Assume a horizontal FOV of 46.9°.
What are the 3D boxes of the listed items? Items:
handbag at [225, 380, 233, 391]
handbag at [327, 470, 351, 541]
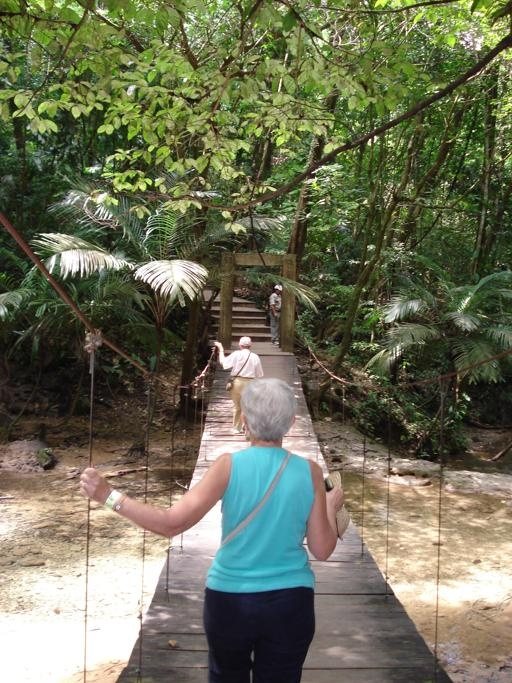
[{"bbox_3d":[-0.272,0.489,6.635,0.103,0.111,0.126,-3,11,-26],"label":"handbag"},{"bbox_3d":[0.205,0.427,1.468,0.073,0.196,0.085,4,8,9],"label":"handbag"}]
